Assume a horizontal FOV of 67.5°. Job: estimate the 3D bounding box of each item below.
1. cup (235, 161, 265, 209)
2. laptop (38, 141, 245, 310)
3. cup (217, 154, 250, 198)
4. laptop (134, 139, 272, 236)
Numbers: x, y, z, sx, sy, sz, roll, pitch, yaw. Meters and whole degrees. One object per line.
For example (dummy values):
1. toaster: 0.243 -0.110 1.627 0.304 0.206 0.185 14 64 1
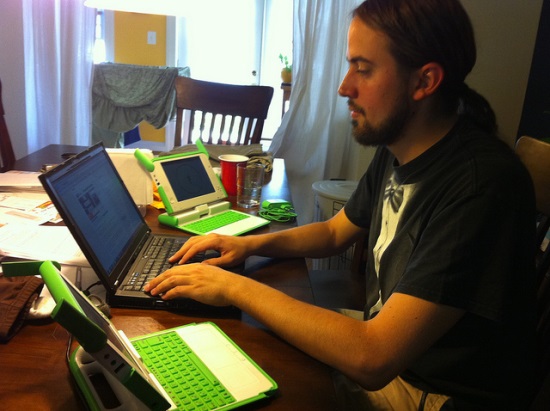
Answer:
1. cup: -0.100 -0.078 1.654 0.114 0.176 0.112 3 6 0
2. laptop: -0.305 0.089 1.144 0.440 0.350 0.447 1 27 -5
3. cup: -0.190 -0.133 1.795 0.141 0.183 0.151 3 13 -1
4. laptop: -0.256 -0.126 1.483 0.392 0.277 0.294 11 22 27
